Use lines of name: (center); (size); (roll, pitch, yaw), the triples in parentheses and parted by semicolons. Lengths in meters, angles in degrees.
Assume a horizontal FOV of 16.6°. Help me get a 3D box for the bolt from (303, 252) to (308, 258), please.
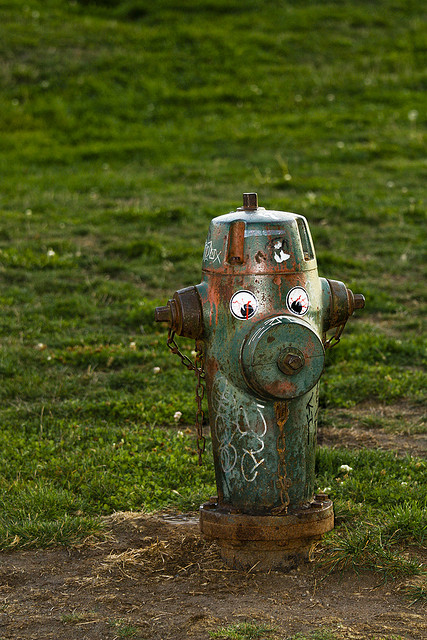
bolt: (0.474, -0.332, 7.501); (0.026, 0.033, 0.021); (1, 10, 5)
